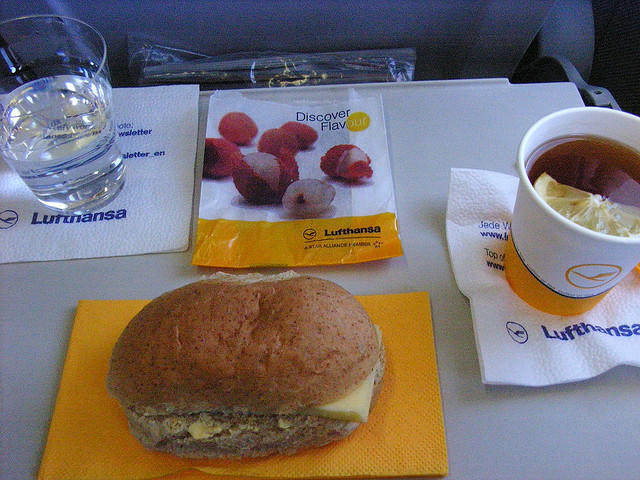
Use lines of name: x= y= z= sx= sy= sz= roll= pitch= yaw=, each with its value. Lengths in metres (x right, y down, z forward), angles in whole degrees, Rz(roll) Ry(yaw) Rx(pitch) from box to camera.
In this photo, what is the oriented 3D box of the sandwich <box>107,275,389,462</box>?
sandwich: x=-0.109 y=0.198 z=0.792 sx=0.438 sy=0.228 sz=0.262 roll=-2 pitch=25 yaw=12
